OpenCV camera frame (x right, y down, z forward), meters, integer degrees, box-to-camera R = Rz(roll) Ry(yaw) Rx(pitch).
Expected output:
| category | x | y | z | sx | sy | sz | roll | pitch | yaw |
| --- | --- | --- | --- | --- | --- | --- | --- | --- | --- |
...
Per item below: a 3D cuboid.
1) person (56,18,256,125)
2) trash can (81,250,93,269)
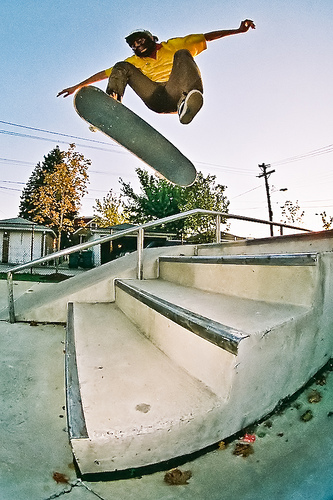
| category | x | y | z | sx | sy | sz | roll | pitch | yaw |
| --- | --- | --- | --- | --- | --- | --- | --- | --- | --- |
| person | -0.036 | -1.583 | 3.528 | 1.438 | 0.834 | 0.733 | 2 | 3 | 30 |
| trash can | -3.934 | 0.461 | 18.878 | 0.722 | 1.115 | 0.734 | -1 | 10 | -6 |
